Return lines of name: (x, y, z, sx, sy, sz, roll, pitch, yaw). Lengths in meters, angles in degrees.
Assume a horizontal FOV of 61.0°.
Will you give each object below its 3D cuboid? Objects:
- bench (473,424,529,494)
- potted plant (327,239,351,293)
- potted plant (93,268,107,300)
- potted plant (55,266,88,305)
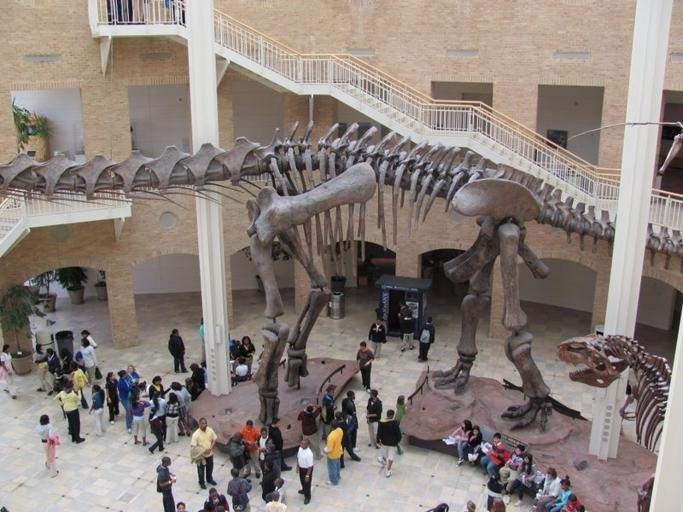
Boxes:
bench: (3.235, 4.222, 12.250, 0.573, 1.019, 0.366, -6, 10, 0)
potted plant: (-0.157, 0.563, 21.943, 0.764, 1.824, 0.749, -8, 16, -33)
potted plant: (-9.357, 1.120, 22.365, 0.387, 1.111, 1.194, -8, 14, -26)
potted plant: (-10.171, 0.885, 21.903, 0.929, 1.703, 0.906, -5, 8, 4)
